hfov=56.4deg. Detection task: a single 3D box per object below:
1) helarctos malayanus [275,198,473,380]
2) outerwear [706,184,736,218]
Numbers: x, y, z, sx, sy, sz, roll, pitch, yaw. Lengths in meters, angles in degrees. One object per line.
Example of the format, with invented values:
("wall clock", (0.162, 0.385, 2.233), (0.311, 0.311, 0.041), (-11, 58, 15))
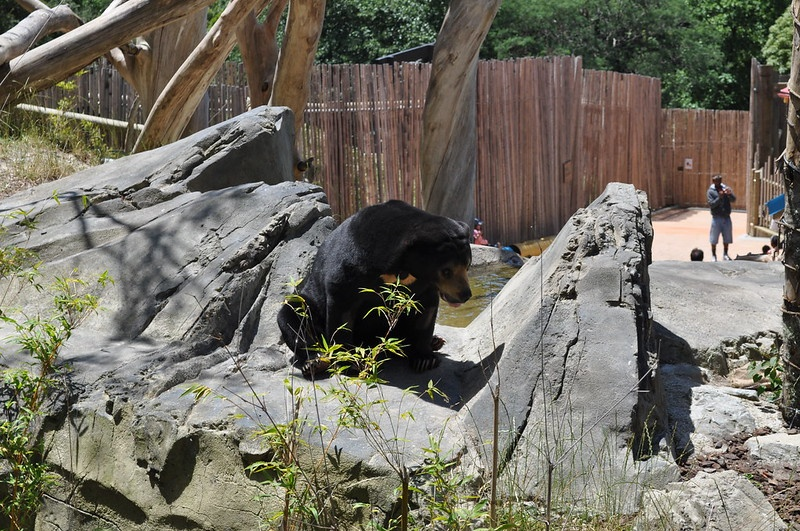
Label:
("helarctos malayanus", (-0.252, 0.064, 5.915), (1.085, 1.244, 1.503), (-5, 7, -37))
("outerwear", (5.831, -1.171, 13.480), (0.379, 0.641, 0.412), (-6, -1, -4))
